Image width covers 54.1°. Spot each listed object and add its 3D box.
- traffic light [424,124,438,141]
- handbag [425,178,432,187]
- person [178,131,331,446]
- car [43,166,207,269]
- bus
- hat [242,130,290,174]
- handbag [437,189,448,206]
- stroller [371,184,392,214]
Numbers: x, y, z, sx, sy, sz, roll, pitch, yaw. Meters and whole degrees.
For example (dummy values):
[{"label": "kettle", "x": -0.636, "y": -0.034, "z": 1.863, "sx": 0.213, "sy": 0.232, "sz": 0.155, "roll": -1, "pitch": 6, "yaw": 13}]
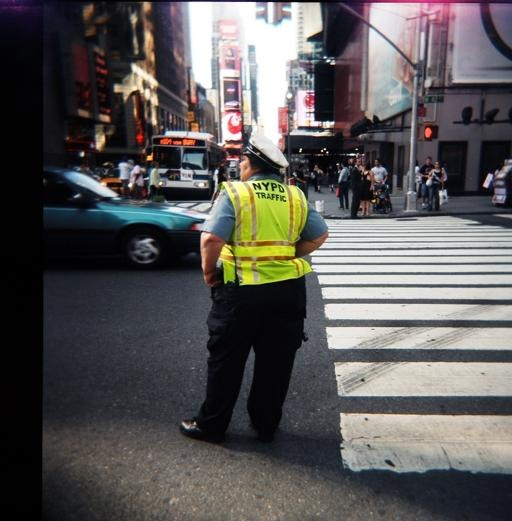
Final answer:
[{"label": "traffic light", "x": 6.563, "y": -4.803, "z": 18.949, "sx": 0.526, "sy": 0.586, "sz": 0.555, "roll": -1, "pitch": 5, "yaw": 3}, {"label": "handbag", "x": 6.430, "y": -2.887, "z": 18.617, "sx": 0.150, "sy": 0.329, "sz": 0.497, "roll": 2, "pitch": 10, "yaw": 14}, {"label": "person", "x": -0.013, "y": 0.215, "z": 3.030, "sx": 0.840, "sy": 1.919, "sz": 0.460, "roll": -2, "pitch": 10, "yaw": -10}, {"label": "car", "x": -2.354, "y": -0.752, "z": 8.857, "sx": 3.015, "sy": 1.176, "sz": 1.378, "roll": -1, "pitch": 8, "yaw": -7}, {"label": "bus", "x": -3.919, "y": -5.525, "z": 29.012, "sx": 2.243, "sy": 2.777, "sz": 6.783, "roll": 1, "pitch": 8, "yaw": 5}, {"label": "hat", "x": 0.047, "y": -0.639, "z": 2.979, "sx": 0.244, "sy": 0.241, "sz": 0.450, "roll": -1, "pitch": 10, "yaw": -2}, {"label": "handbag", "x": 7.050, "y": -2.405, "z": 18.843, "sx": 0.276, "sy": 0.539, "sz": 0.844, "roll": 4, "pitch": 11, "yaw": 25}, {"label": "stroller", "x": 4.761, "y": -2.321, "z": 18.895, "sx": 0.687, "sy": 1.104, "sz": 1.571, "roll": 2, "pitch": 10, "yaw": 16}]
